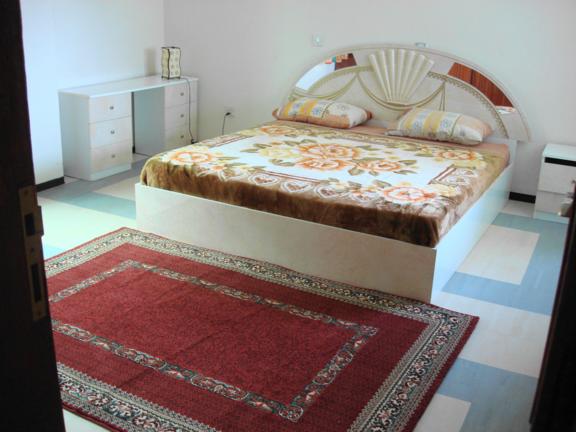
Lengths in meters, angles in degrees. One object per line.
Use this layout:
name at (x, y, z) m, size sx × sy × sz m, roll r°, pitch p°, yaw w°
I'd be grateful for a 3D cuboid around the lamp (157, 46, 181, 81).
lamp at (-1.557, -2.078, 5.292) m, size 0.308 × 0.373 × 0.300 m, roll 7°, pitch 31°, yaw -3°

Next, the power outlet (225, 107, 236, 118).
power outlet at (-0.779, -1.435, 5.354) m, size 0.149 × 0.129 × 0.074 m, roll 10°, pitch 25°, yaw 19°

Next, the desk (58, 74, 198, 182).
desk at (-1.997, -1.205, 5.055) m, size 0.557 × 0.980 × 1.809 m, roll 17°, pitch 29°, yaw 16°
